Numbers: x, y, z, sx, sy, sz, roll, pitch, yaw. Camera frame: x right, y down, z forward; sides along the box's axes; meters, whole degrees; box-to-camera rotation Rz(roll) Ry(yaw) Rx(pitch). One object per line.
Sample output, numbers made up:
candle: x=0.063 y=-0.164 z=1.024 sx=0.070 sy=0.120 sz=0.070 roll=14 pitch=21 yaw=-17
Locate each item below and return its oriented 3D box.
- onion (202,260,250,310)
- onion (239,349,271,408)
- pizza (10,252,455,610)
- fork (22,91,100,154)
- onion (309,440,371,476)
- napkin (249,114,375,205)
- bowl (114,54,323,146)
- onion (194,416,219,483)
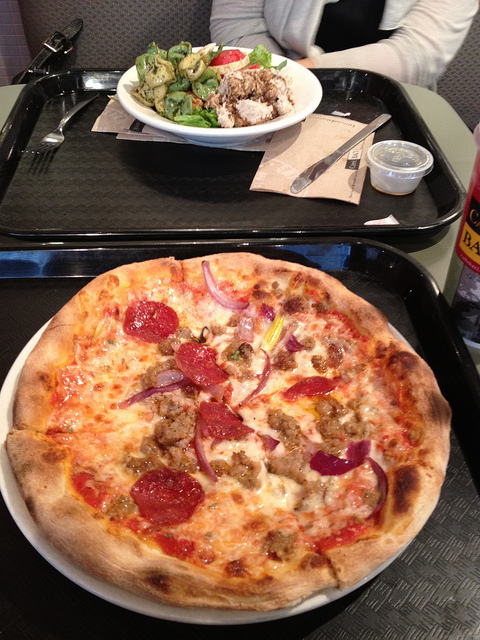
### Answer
onion: x=-0.028 y=-0.063 z=0.952 sx=0.117 sy=0.018 sz=0.023 roll=49 pitch=32 yaw=15
onion: x=0.031 y=0.094 z=0.839 sx=0.024 sy=0.019 sz=0.148 roll=-9 pitch=30 yaw=22
pizza: x=-0.021 y=0.105 z=0.779 sx=0.590 sy=0.134 sz=0.593 roll=-11 pitch=56 yaw=-16
fork: x=-0.519 y=-0.643 z=1.650 sx=0.072 sy=0.056 sz=0.399 roll=20 pitch=48 yaw=8
onion: x=0.127 y=0.193 z=0.730 sx=0.062 sy=0.012 sz=0.044 roll=-33 pitch=41 yaw=-17
napkin: x=0.200 y=-0.465 z=1.494 sx=0.280 sy=0.033 sz=0.353 roll=13 pitch=49 yaw=17
bowl: x=-0.052 y=-0.653 z=1.572 sx=0.592 sy=0.175 sz=0.477 roll=-7 pitch=55 yaw=-13
onion: x=-0.055 y=0.169 z=0.741 sx=0.015 sy=0.015 sz=0.124 roll=-16 pitch=40 yaw=-11
